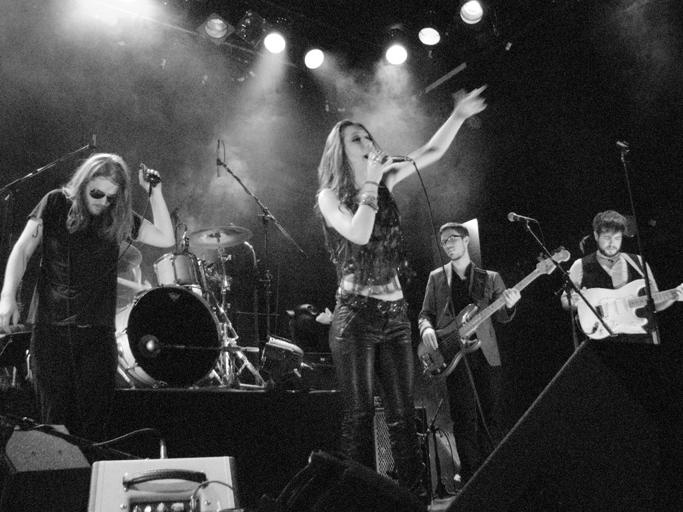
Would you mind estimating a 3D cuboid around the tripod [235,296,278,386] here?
[{"bbox_3d":[-0.617,0.540,4.038,0.298,0.711,0.309,2,-9,-36],"label":"tripod"}]

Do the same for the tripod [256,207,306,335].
[{"bbox_3d":[-0.525,0.074,4.432,0.367,1.124,0.562,-4,-14,12],"label":"tripod"}]

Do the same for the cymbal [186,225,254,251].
[{"bbox_3d":[-0.892,-0.138,4.295,0.252,0.064,0.264,-15,-16,-14],"label":"cymbal"}]

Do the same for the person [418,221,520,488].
[{"bbox_3d":[0.934,0.756,4.126,0.633,1.986,0.631,-10,15,2],"label":"person"}]

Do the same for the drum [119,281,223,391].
[{"bbox_3d":[-1.058,0.494,3.738,0.577,0.628,0.608,19,-11,-20],"label":"drum"}]

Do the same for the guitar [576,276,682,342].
[{"bbox_3d":[1.739,0.341,3.775,0.440,0.370,0.221,-8,-15,24],"label":"guitar"}]

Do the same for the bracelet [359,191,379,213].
[{"bbox_3d":[0.134,-0.260,2.847,0.079,0.094,0.078,-29,-6,-2],"label":"bracelet"}]

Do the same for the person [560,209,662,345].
[{"bbox_3d":[1.749,0.141,3.732,0.415,0.877,0.120,0,-8,14],"label":"person"}]

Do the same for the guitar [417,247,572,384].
[{"bbox_3d":[1.092,0.437,4.056,1.016,0.336,0.149,-39,-21,-10],"label":"guitar"}]

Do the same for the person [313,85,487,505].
[{"bbox_3d":[0.243,0.231,3.004,0.776,1.943,0.414,11,-18,-43],"label":"person"}]

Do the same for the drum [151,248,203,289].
[{"bbox_3d":[-1.155,0.156,4.043,0.340,0.247,0.341,-15,-16,-5],"label":"drum"}]
